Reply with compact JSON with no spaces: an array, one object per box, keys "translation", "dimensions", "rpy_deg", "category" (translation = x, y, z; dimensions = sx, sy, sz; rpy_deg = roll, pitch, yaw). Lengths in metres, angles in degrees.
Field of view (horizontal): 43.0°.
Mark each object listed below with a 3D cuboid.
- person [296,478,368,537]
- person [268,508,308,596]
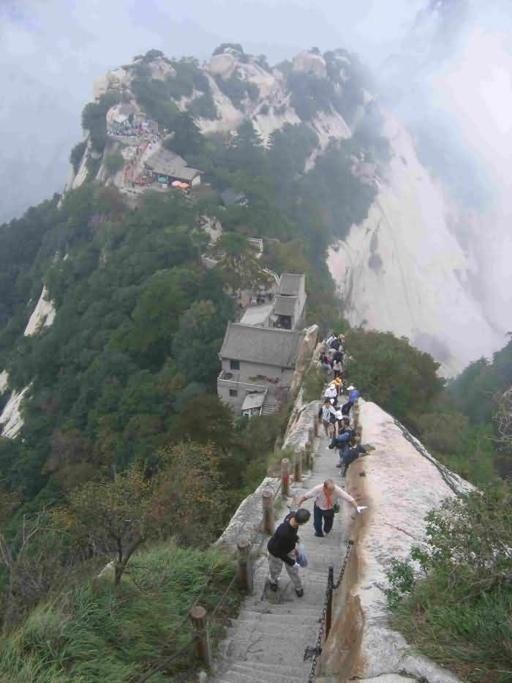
[{"translation":[1.138,2.587,10.163],"dimensions":[1.019,1.392,0.492],"rpy_deg":[14,42,14],"category":"person"},{"translation":[0.420,2.876,8.853],"dimensions":[0.480,1.690,0.528],"rpy_deg":[11,36,15],"category":"person"}]
